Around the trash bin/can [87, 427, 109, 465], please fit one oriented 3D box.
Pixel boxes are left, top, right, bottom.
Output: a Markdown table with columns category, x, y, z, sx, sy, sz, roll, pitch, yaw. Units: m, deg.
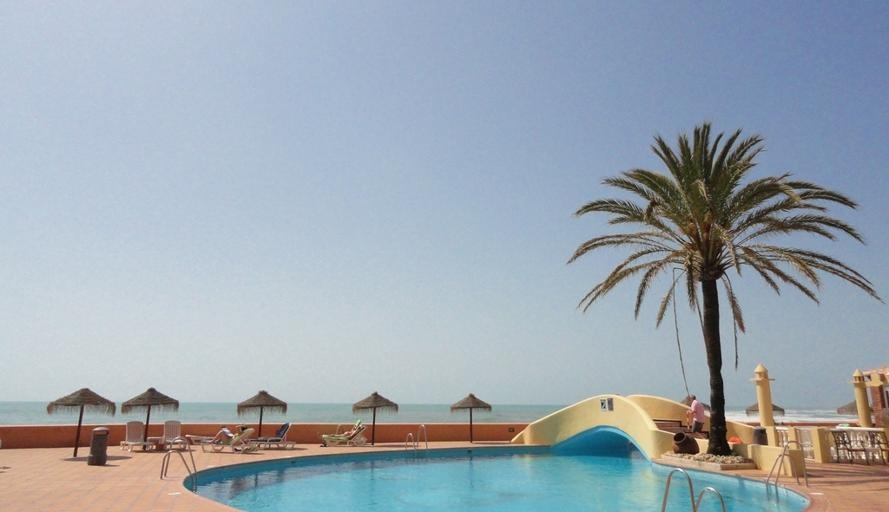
| category | x | y | z | sx | sy | sz | roll | pitch | yaw |
| --- | --- | --- | --- | --- | --- | --- | --- | --- | --- |
| trash bin/can | -13.818 | 7.661 | 22.403 | 0.609 | 1.392 | 0.923 | 8 | -15 | -31 |

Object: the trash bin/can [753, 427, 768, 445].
| category | x | y | z | sx | sy | sz | roll | pitch | yaw |
| --- | --- | --- | --- | --- | --- | --- | --- | --- | --- |
| trash bin/can | 13.233 | 7.583 | 23.487 | 0.757 | 0.686 | 0.387 | 11 | -16 | -38 |
